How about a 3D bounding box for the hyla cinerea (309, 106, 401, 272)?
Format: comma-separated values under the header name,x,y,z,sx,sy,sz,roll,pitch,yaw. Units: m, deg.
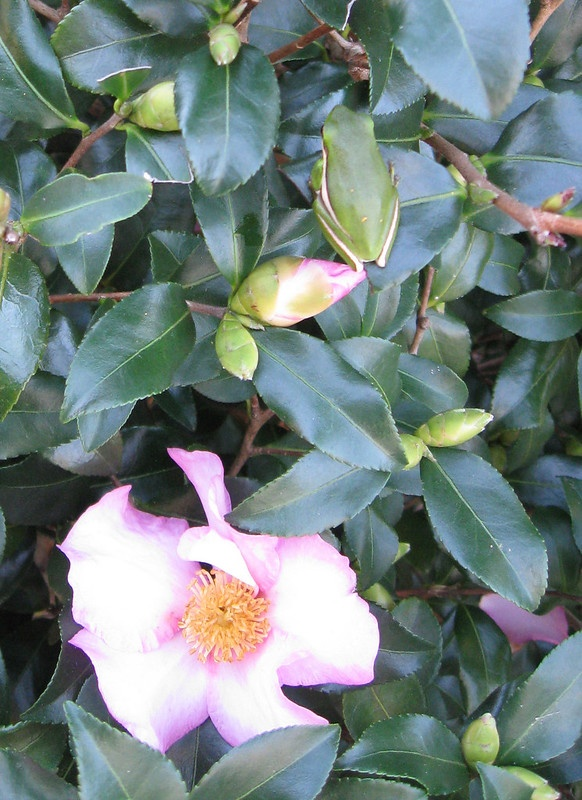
name,x,y,z,sx,sy,sz,roll,pitch,yaw
hyla cinerea,0.054,-0.190,0.729,0.111,0.131,0.126,7,29,9
